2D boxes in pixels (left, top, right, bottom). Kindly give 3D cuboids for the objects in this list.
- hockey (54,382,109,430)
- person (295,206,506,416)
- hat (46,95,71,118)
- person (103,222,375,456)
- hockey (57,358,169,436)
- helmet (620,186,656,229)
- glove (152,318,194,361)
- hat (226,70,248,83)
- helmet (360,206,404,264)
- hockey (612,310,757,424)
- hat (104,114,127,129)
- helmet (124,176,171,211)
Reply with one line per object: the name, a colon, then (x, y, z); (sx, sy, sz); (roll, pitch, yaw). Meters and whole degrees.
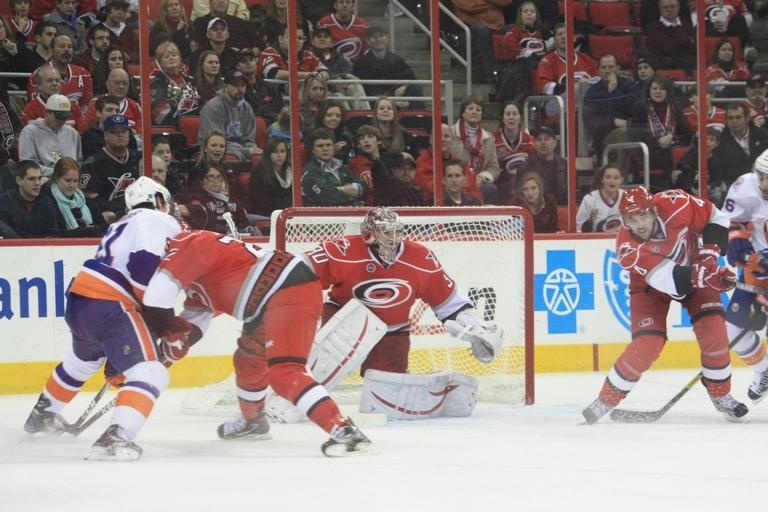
hockey: (-1.986, 1.034, 7.270); (0.210, 0.393, 0.106); (7, -34, 51)
person: (0.030, 0.439, 7.454); (1.522, 1.420, 0.858); (6, 8, 8)
hat: (-2.508, -1.157, 8.396); (0.161, 0.091, 0.127); (8, 11, 27)
person: (-0.876, 0.460, 6.800); (1.678, 1.397, 0.711); (4, -3, 14)
hockey: (-1.741, 0.903, 6.981); (0.134, 0.206, 0.673); (-43, 5, 42)
helmet: (1.766, -0.325, 7.549); (0.287, 0.296, 0.295); (-9, 4, -14)
glove: (-1.305, 0.525, 6.825); (0.295, 0.115, 0.215); (-32, -49, 17)
hat: (-1.173, -1.408, 8.610); (0.102, 0.074, 0.137); (-1, 4, -34)
helmet: (-0.026, -0.159, 7.355); (0.267, 0.351, 0.326); (-10, 22, -40)
hockey: (2.173, 0.811, 7.890); (1.000, 0.171, 0.145); (-40, 13, -8)
hat: (-2.058, -1.051, 8.473); (0.158, 0.108, 0.216); (10, 8, -5)
helmet: (-1.563, -0.397, 7.046); (0.237, 0.293, 0.307); (5, 4, 20)
